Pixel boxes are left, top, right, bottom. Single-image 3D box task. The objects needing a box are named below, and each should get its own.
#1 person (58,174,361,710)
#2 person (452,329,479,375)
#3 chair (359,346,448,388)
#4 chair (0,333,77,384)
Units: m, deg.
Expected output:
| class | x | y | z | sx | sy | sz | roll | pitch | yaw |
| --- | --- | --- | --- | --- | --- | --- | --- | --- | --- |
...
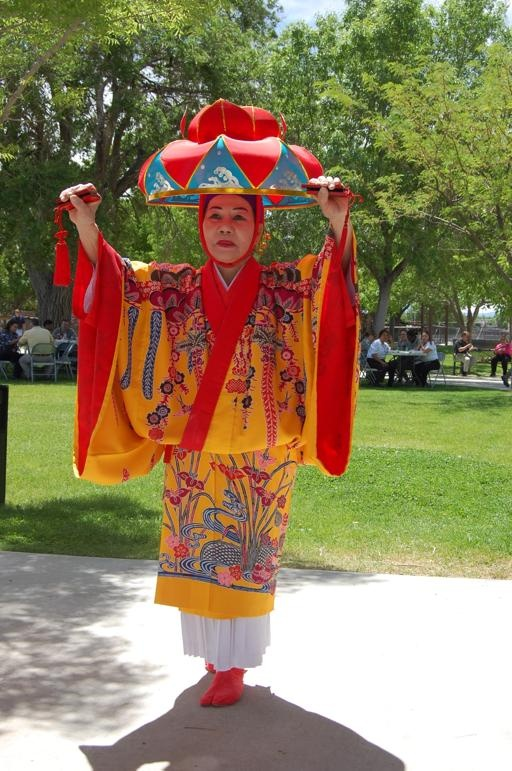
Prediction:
| class | x | y | z | sx | sy | sz | roll | pitch | yaw |
| --- | --- | --- | --- | --- | --- | --- | --- | --- | --- |
| person | -0.151 | 0.130 | 2.926 | 0.976 | 1.610 | 0.339 | 1 | 4 | 6 |
| person | 5.990 | -0.919 | 24.962 | 0.550 | 1.236 | 2.880 | 2 | 4 | 13 |
| chair | 3.195 | -0.294 | 19.563 | 1.440 | 0.626 | 1.344 | 0 | -2 | -16 |
| chair | -4.003 | -0.458 | 16.339 | 1.638 | 0.701 | 1.042 | -1 | -3 | -9 |
